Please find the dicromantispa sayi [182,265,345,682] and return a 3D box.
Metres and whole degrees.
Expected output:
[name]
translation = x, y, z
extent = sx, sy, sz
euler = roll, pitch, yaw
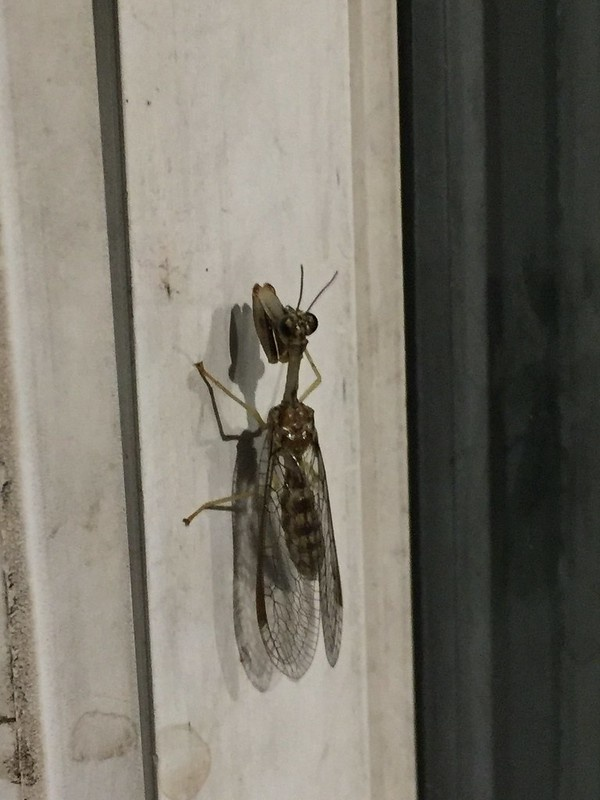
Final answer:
[dicromantispa sayi]
translation = -0.038, 0.086, 2.869
extent = 0.222, 0.129, 0.596
euler = -2, 93, -26
